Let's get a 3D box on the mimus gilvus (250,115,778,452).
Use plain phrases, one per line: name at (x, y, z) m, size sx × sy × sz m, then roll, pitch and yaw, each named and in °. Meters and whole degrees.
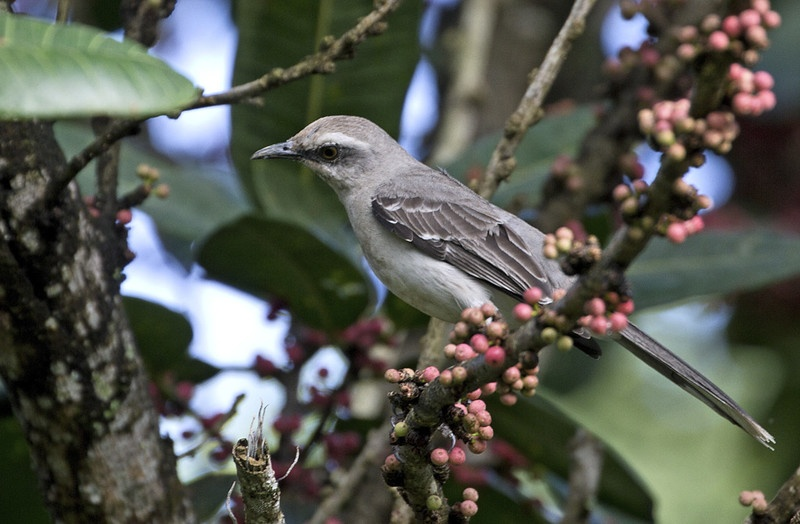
mimus gilvus at (0.491, 0.120, 7.114) m, size 3.004 × 1.528 × 0.818 m, roll 12°, pitch -31°, yaw -6°
